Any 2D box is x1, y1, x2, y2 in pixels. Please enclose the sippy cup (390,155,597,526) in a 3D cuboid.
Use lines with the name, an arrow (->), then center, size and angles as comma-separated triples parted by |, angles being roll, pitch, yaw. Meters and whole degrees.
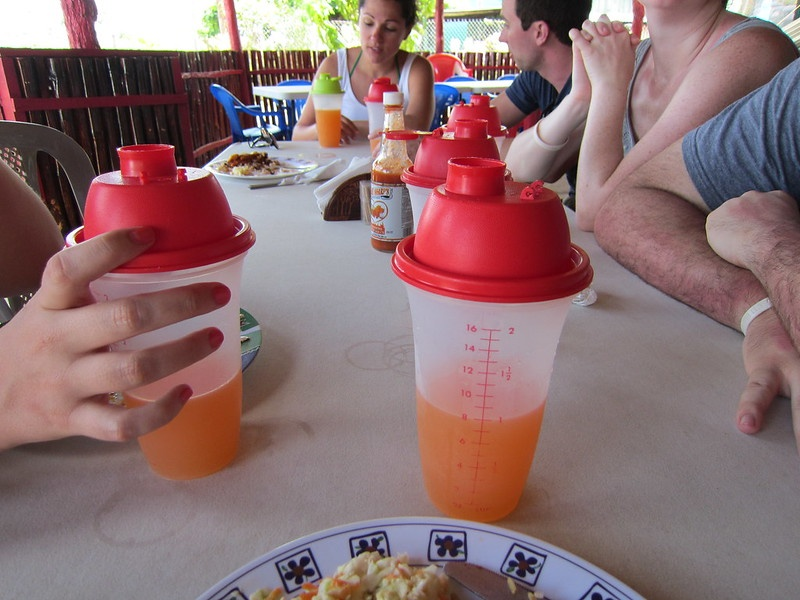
sippy cup -> 0.117, 0.052, 0.822 | 0.231, 0.458, 0.216 | -2, 28, 1

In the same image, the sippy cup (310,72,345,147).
sippy cup -> -0.330, -0.856, 2.733 | 0.166, 0.306, 0.167 | 0, 21, 0

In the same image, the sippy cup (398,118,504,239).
sippy cup -> 0.100, -0.287, 1.369 | 0.246, 0.279, 0.265 | 0, 19, 0

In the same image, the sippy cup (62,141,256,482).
sippy cup -> -0.311, 0.017, 0.855 | 0.226, 0.443, 0.232 | -2, 28, 1

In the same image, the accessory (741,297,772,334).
accessory -> 0.684, 0.025, 1.179 | 0.023, 0.066, 0.056 | 29, 35, 35

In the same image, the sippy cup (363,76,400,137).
sippy cup -> -0.075, -0.779, 2.481 | 0.141, 0.250, 0.151 | 5, 24, -2
